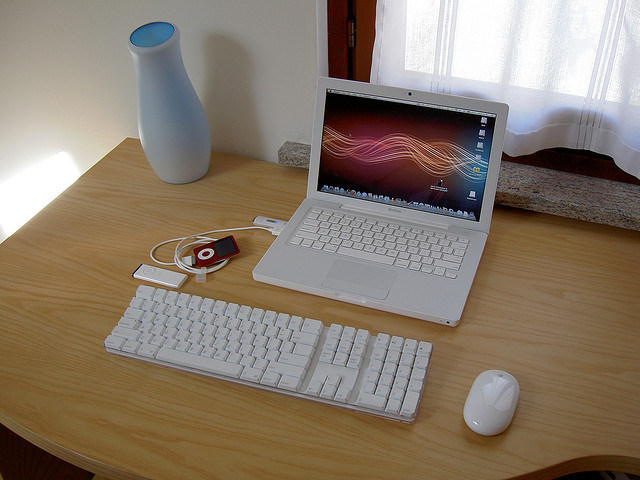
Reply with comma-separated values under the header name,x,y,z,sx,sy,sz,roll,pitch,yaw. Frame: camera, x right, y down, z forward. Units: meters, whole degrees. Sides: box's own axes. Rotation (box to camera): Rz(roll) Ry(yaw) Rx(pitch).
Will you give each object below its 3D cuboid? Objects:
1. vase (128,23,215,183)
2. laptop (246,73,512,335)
name,x,y,z,sx,sy,sz,roll,pitch,yaw
vase,-0.374,-0.316,1.166,0.182,0.347,0.159,-12,43,-10
laptop,0.126,-0.092,0.964,0.414,0.299,0.371,13,43,17
